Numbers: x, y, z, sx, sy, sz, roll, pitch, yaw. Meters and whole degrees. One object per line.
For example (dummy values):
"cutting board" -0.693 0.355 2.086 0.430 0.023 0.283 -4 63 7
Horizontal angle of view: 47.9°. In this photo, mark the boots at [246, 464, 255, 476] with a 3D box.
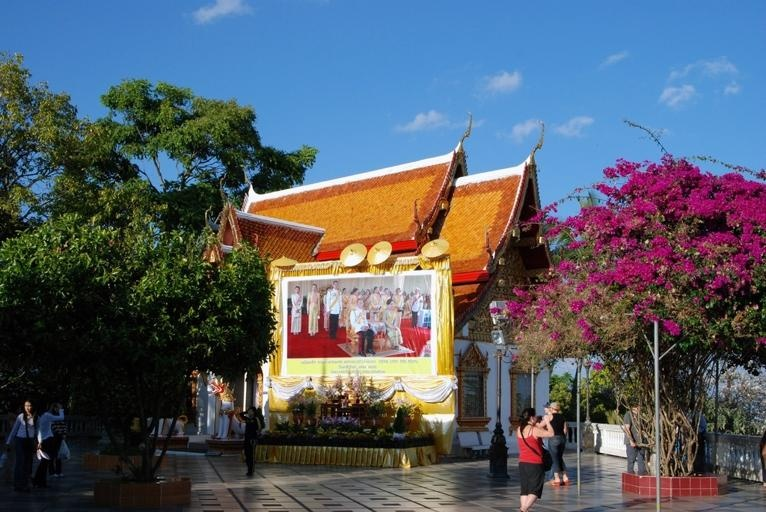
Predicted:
"boots" -4.056 6.555 26.139 0.219 0.423 0.366 6 -5 -34

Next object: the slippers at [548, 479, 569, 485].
"slippers" 5.023 6.596 24.923 0.237 0.152 0.524 1 -18 -6

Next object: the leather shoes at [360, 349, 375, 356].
"leather shoes" -0.568 3.644 31.684 0.554 0.268 0.217 -11 1 26

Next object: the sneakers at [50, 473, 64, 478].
"sneakers" -9.564 6.524 25.307 0.346 0.169 0.125 -5 -4 -2

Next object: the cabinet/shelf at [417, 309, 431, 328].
"cabinet/shelf" 1.468 2.298 30.902 0.544 0.870 0.462 1 0 42
